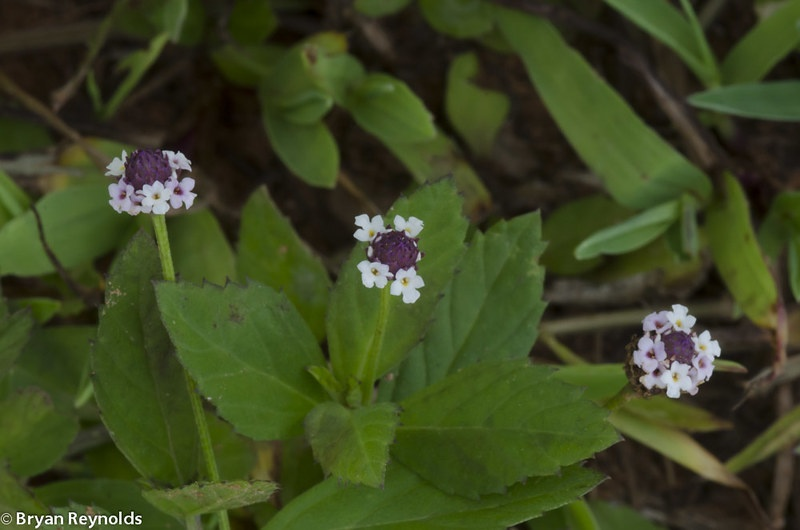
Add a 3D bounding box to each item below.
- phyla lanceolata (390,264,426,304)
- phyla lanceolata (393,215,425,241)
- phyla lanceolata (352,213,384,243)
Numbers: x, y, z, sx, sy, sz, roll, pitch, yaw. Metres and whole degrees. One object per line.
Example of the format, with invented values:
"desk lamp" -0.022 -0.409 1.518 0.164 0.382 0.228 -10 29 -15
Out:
"phyla lanceolata" 0.008 0.028 1.077 0.042 0.036 0.036 -10 50 -27
"phyla lanceolata" 0.016 -0.057 1.125 0.032 0.019 0.040 -17 67 -21
"phyla lanceolata" -0.045 -0.050 1.129 0.039 0.021 0.038 20 71 -2
